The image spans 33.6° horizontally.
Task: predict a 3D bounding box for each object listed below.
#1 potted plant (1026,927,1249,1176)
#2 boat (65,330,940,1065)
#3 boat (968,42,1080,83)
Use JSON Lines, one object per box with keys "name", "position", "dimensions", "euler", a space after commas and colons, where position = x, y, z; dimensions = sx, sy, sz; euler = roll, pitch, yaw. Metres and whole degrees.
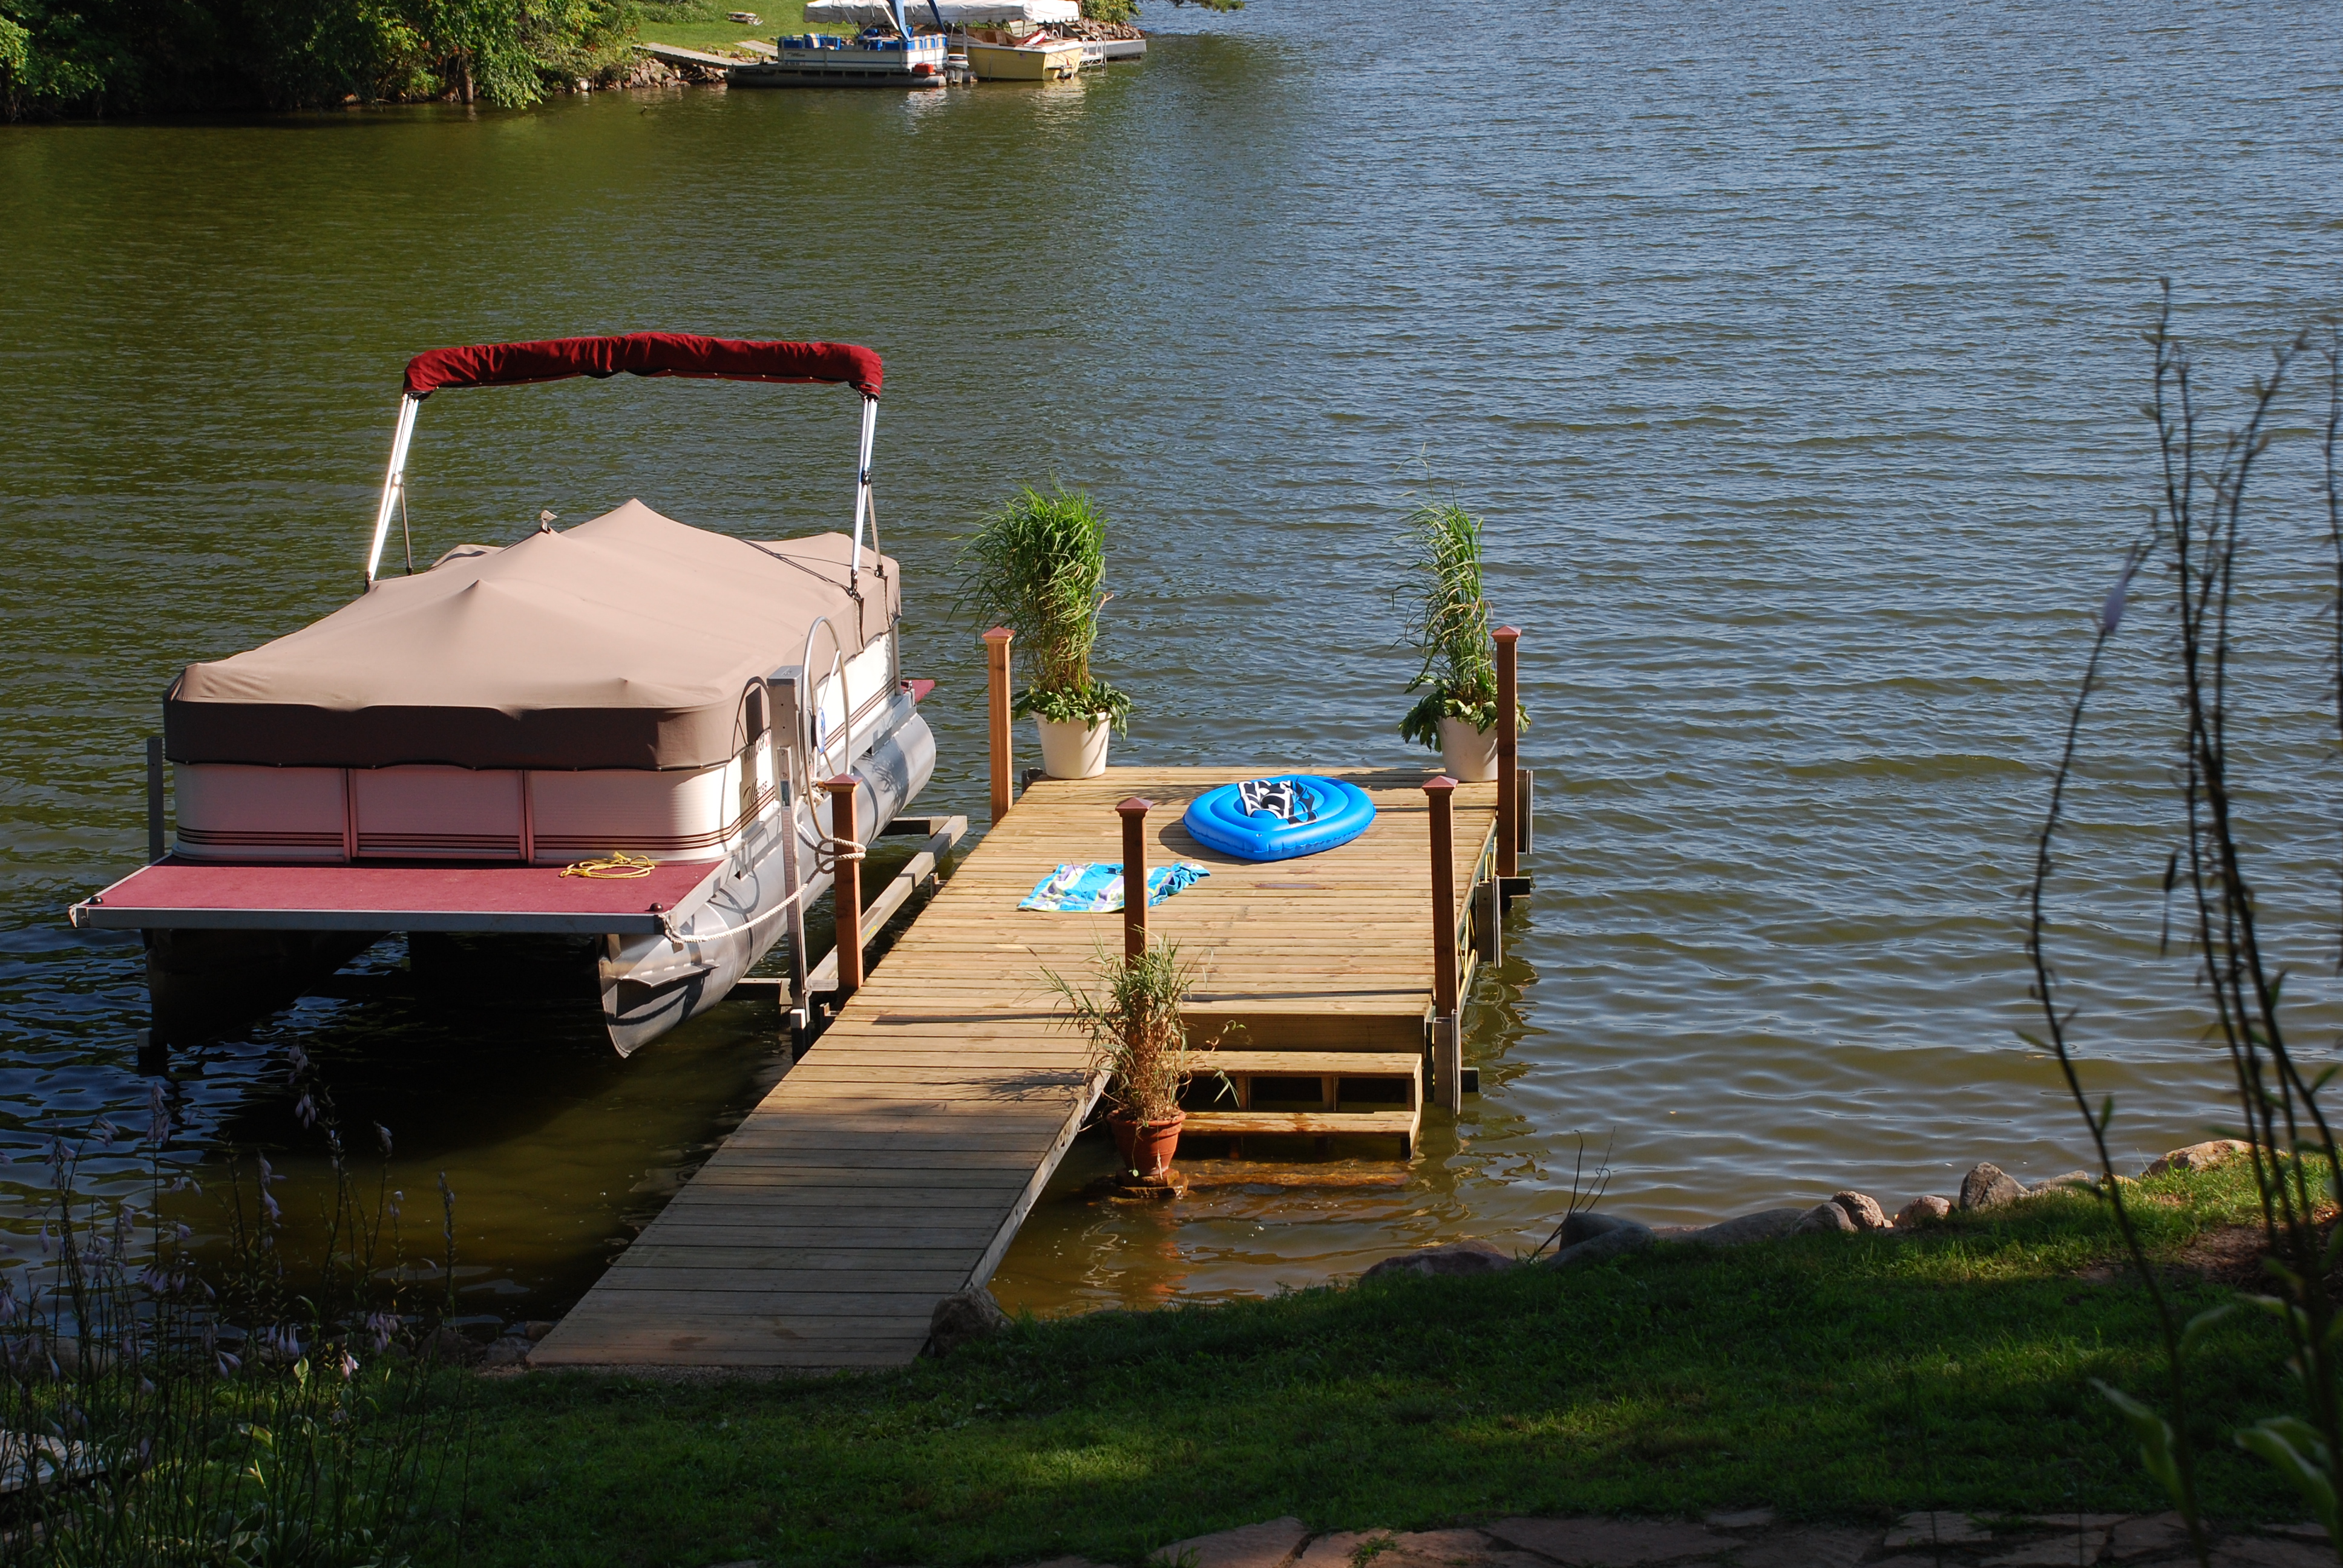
{"name": "potted plant", "position": [-0.372, 2.596, 37.194], "dimensions": [1.356, 2.111, 1.735], "euler": [-2, 17, -2]}
{"name": "boat", "position": [-6.145, -0.873, 40.799], "dimensions": [6.766, 4.804, 9.732], "euler": [3, 13, 11]}
{"name": "boat", "position": [-3.792, -18.401, 99.443], "dimensions": [2.560, 0.596, 1.455], "euler": [-3, 22, -7]}
